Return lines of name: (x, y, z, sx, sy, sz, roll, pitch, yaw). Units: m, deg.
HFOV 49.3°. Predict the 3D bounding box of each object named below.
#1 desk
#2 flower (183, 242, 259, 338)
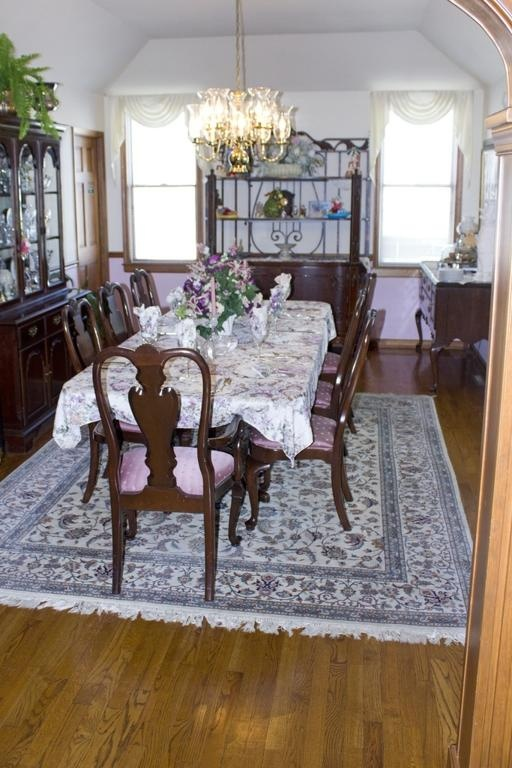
desk: (1.762, -0.503, 4.992, 0.404, 0.754, 1.201, 3, 23, 11)
flower: (-0.206, -0.497, 2.991, 0.436, 0.536, 0.502, -2, 19, 4)
